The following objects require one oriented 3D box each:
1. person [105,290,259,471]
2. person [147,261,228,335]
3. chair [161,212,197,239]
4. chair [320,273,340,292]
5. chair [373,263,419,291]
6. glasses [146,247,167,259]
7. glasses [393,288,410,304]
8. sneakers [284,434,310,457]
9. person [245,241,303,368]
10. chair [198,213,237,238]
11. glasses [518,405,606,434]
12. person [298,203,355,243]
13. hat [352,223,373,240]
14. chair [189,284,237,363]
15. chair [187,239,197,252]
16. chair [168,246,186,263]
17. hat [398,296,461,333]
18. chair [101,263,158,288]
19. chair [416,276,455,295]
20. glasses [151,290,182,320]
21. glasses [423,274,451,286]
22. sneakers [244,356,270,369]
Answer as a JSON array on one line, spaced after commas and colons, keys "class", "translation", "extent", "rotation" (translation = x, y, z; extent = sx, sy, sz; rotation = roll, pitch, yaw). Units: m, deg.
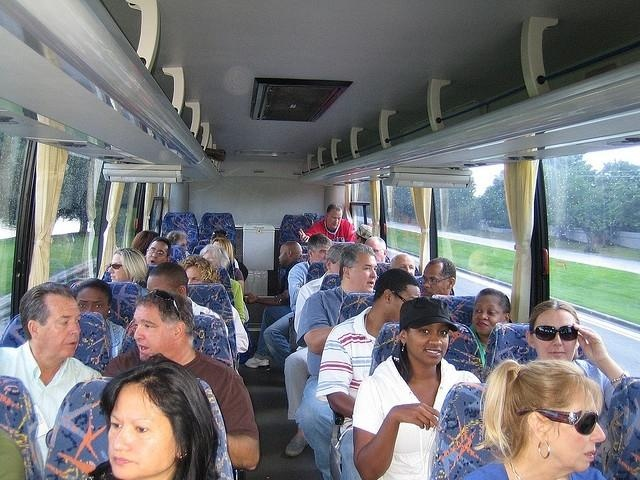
[{"class": "person", "translation": [-0.882, 0.838, 2.457], "extent": [1.134, 1.060, 0.571], "rotation": [4, 10, 23]}, {"class": "person", "translation": [-1.130, 0.431, 3.588], "extent": [0.518, 0.506, 0.727], "rotation": [-17, 36, -38]}, {"class": "chair", "translation": [-3.327, -0.367, 9.537], "extent": [0.783, 0.798, 0.715], "rotation": [0, 2, -14]}, {"class": "chair", "translation": [0.106, 0.481, 4.244], "extent": [0.125, 0.193, 0.190], "rotation": [16, -37, -10]}, {"class": "chair", "translation": [0.526, 0.267, 2.786], "extent": [0.213, 0.196, 0.164], "rotation": [-18, -9, 27]}, {"class": "glasses", "translation": [-2.159, 0.169, 5.324], "extent": [0.259, 0.116, 0.136], "rotation": [-1, 0, -16]}, {"class": "glasses", "translation": [0.541, 0.373, 2.664], "extent": [0.023, 0.080, 0.075], "rotation": [-28, 10, -16]}, {"class": "sneakers", "translation": [-0.216, 1.942, 3.748], "extent": [0.102, 0.087, 0.213], "rotation": [0, -2, 19]}, {"class": "person", "translation": [-0.713, 1.036, 6.194], "extent": [1.138, 2.086, 0.747], "rotation": [2, -29, -1]}, {"class": "chair", "translation": [-2.393, -0.329, 9.489], "extent": [0.998, 0.651, 0.468], "rotation": [-1, 0, 31]}, {"class": "glasses", "translation": [0.879, 0.666, 1.462], "extent": [0.265, 0.085, 0.038], "rotation": [-1, 0, 8]}, {"class": "person", "translation": [0.173, -0.372, 8.708], "extent": [1.224, 0.808, 2.156], "rotation": [-4, -7, -7]}, {"class": "hat", "translation": [0.997, -0.206, 9.224], "extent": [0.293, 0.385, 0.341], "rotation": [11, -48, -21]}, {"class": "chair", "translation": [-0.951, 0.676, 3.647], "extent": [0.466, 0.771, 0.630], "rotation": [-1, -6, -4]}, {"class": "chair", "translation": [-2.873, 0.133, 8.963], "extent": [0.138, 0.263, 0.184], "rotation": [14, 16, -20]}, {"class": "chair", "translation": [-2.086, 0.219, 5.816], "extent": [0.221, 0.218, 0.225], "rotation": [5, 7, 34]}, {"class": "hat", "translation": [0.618, 0.403, 2.253], "extent": [0.265, 0.182, 0.355], "rotation": [6, -3, -12]}, {"class": "chair", "translation": [-2.000, 0.382, 4.218], "extent": [0.208, 0.244, 0.278], "rotation": [0, -26, -2]}, {"class": "chair", "translation": [1.333, 0.528, 4.553], "extent": [0.379, 0.249, 0.293], "rotation": [-2, 3, -14]}, {"class": "glasses", "translation": [-0.932, 0.375, 2.437], "extent": [0.156, 0.165, 0.048], "rotation": [17, 26, 25]}, {"class": "glasses", "translation": [1.308, 0.456, 4.469], "extent": [0.274, 0.100, 0.107], "rotation": [-1, 0, 21]}, {"class": "sneakers", "translation": [-0.874, 1.723, 5.615], "extent": [0.299, 0.163, 0.142], "rotation": [2, -2, -5]}]
